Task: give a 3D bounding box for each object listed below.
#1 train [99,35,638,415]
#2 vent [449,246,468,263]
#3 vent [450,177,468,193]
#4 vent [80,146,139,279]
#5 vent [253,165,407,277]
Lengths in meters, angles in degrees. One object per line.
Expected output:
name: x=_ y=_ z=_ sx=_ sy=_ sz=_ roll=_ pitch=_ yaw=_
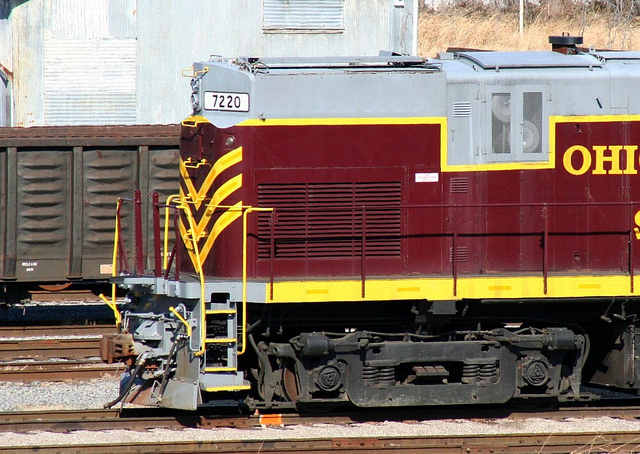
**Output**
train: x=0.101 y=-0.097 z=32.891 sx=13.013 sy=6.059 sz=4.525 roll=-1 pitch=5 yaw=-7
vent: x=2.480 y=0.476 z=30.626 sx=0.322 sy=0.263 sz=0.043 roll=0 pitch=-2 yaw=-9
vent: x=2.494 y=-0.787 z=30.652 sx=0.305 sy=0.242 sz=0.032 roll=0 pitch=-1 yaw=-5
vent: x=-4.312 y=-0.471 z=34.433 sx=1.164 sy=3.177 sz=1.050 roll=-5 pitch=10 yaw=-23
vent: x=0.181 y=-0.121 z=30.532 sx=2.749 sy=1.971 sz=0.322 roll=-1 pitch=1 yaw=2
